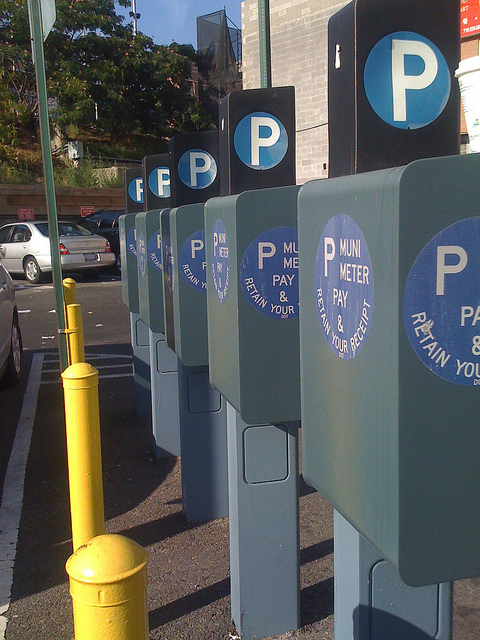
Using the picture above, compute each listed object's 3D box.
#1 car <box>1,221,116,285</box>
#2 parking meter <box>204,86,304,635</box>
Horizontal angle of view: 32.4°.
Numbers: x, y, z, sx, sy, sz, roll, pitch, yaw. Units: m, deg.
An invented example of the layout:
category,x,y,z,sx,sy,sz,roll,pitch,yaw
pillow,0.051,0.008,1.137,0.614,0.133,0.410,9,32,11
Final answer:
category,x,y,z,sx,sy,sz,roll,pitch,yaw
car,-3.039,-1.093,13.599,0.903,0.917,2.001,-9,18,-40
parking meter,0.032,0.176,2.577,0.312,1.820,0.660,0,6,4
